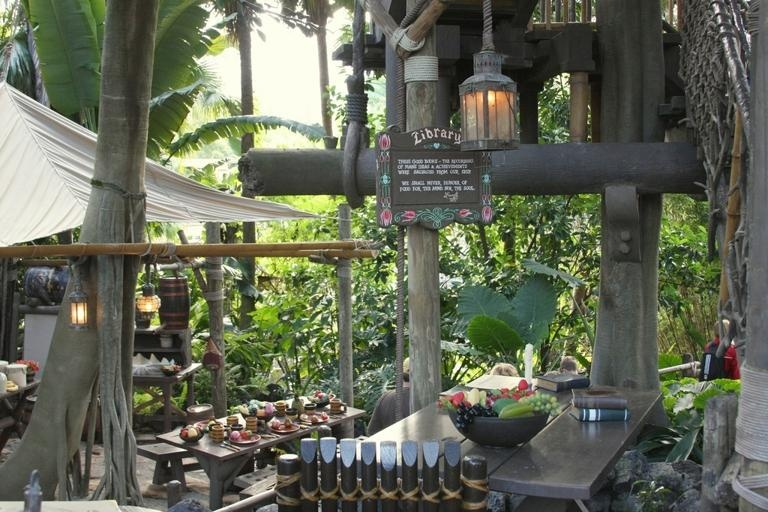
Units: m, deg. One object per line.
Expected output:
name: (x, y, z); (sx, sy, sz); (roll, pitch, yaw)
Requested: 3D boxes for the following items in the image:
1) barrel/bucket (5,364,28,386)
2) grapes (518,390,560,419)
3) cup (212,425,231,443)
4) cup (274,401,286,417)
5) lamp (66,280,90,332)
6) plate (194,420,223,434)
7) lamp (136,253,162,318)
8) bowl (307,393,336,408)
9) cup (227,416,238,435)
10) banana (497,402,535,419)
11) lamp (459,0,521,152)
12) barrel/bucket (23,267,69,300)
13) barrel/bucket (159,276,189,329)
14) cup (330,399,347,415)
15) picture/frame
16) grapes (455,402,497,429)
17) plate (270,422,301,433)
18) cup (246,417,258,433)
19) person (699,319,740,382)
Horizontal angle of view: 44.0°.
barrel/bucket: (-4.623, 1.499, 11.980); (0.253, 0.237, 0.213); (0, 1, -2)
grapes: (1.289, 1.202, 7.828); (0.383, 0.199, 0.148); (7, -10, -14)
cup: (-1.848, 1.995, 10.698); (0.160, 0.127, 0.160); (1, 6, 0)
cup: (-1.228, 1.816, 11.275); (0.156, 0.158, 0.137); (-2, 5, -30)
lamp: (-3.019, 0.432, 9.366); (0.172, 0.583, 0.181); (-2, -1, 40)
plate: (-2.028, 1.939, 10.872); (0.187, 0.063, 0.195); (1, -2, 32)
lamp: (-2.989, 0.402, 12.001); (0.279, 0.809, 0.272); (-5, 11, -40)
bowl: (-0.754, 1.754, 11.647); (0.219, 0.101, 0.232); (0, 0, 0)
cup: (-1.769, 1.957, 11.006); (0.132, 0.158, 0.132); (2, 3, 0)
banana: (1.077, 1.258, 7.710); (0.216, 0.127, 0.065); (-5, 14, -3)
lamp: (0.887, -1.511, 8.078); (0.489, 1.207, 0.538); (-1, -5, 8)
barrel/bucket: (-4.784, 0.414, 13.473); (0.847, 0.514, 0.305); (-4, -6, 29)
barrel/bucket: (-2.852, 0.635, 12.834); (0.395, 0.703, 0.505); (1, -6, -14)
cup: (-0.546, 1.827, 11.427); (0.128, 0.147, 0.199); (-3, -6, 28)
picture/frame: (0.488, -0.726, 8.988); (1.038, 0.979, 0.125); (-1, 5, -5)
grapes: (0.759, 1.287, 7.686); (0.280, 0.188, 0.132); (-3, -24, -2)
plate: (-1.149, 1.983, 10.951); (0.196, 0.045, 0.176); (-1, 11, -35)
cup: (-1.515, 1.926, 10.826); (0.116, 0.156, 0.147); (4, 3, 41)
person: (3.732, 1.199, 10.375); (0.355, 0.838, 0.341); (11, -8, -25)
